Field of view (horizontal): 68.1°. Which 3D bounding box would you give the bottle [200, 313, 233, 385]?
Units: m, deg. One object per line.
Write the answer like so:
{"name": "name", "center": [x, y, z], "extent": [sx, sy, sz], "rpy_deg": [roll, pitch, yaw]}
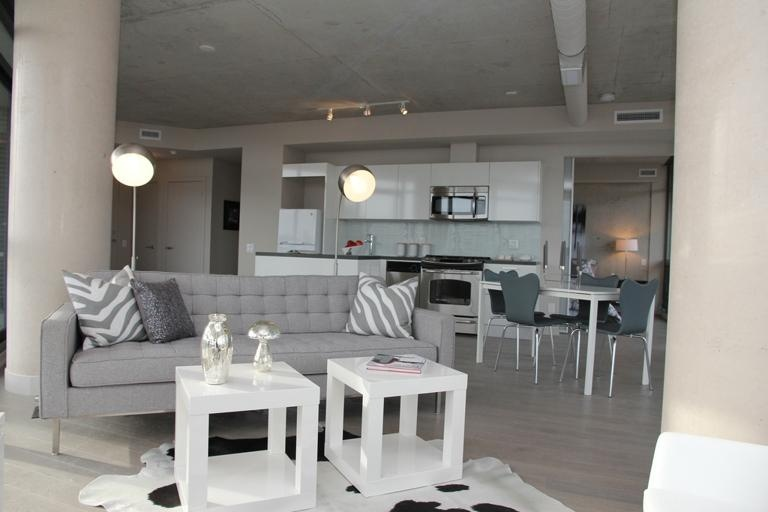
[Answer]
{"name": "bottle", "center": [-0.961, 0.534, 3.299], "extent": [0.157, 0.378, 0.161], "rpy_deg": [1, 2, 0]}

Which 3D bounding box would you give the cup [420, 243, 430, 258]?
{"name": "cup", "center": [0.684, -0.095, 8.650], "extent": [0.203, 0.254, 0.193], "rpy_deg": [0, 1, 0]}

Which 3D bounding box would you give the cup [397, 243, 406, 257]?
{"name": "cup", "center": [0.264, -0.108, 8.737], "extent": [0.191, 0.203, 0.192], "rpy_deg": [1, 0, 0]}

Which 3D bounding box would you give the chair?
{"name": "chair", "center": [1.859, 0.687, 6.280], "extent": [1.676, 1.059, 2.323], "rpy_deg": [1, 2, 0]}

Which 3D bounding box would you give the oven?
{"name": "oven", "center": [1.113, 0.675, 8.382], "extent": [1.159, 1.176, 0.883], "rpy_deg": [0, -3, 15]}

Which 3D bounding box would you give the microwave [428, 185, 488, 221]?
{"name": "microwave", "center": [1.168, -0.807, 8.450], "extent": [0.866, 0.498, 0.528], "rpy_deg": [3, 16, 20]}

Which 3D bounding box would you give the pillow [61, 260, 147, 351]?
{"name": "pillow", "center": [-2.012, 0.384, 4.163], "extent": [0.350, 0.491, 0.630], "rpy_deg": [17, 9, 20]}

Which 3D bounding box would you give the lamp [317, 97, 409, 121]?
{"name": "lamp", "center": [-0.273, -2.051, 8.169], "extent": [1.473, 0.217, 0.954], "rpy_deg": [2, 2, 20]}

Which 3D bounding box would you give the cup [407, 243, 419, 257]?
{"name": "cup", "center": [0.475, -0.104, 8.615], "extent": [0.166, 0.199, 0.292], "rpy_deg": [1, 2, -7]}
